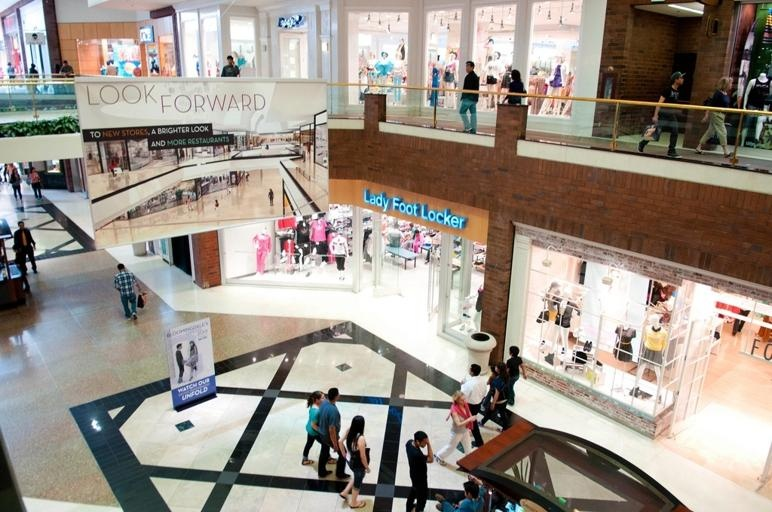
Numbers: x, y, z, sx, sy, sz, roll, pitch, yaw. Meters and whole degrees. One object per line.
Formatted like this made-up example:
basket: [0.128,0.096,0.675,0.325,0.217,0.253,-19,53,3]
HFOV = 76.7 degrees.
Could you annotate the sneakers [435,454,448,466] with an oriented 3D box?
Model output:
sneakers: [1.137,4.155,9.920,0.268,0.222,0.117,3,20,5]

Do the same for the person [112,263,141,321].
person: [-7.832,0.948,14.662,0.591,1.836,1.100,-10,23,-27]

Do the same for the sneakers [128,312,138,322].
sneakers: [-7.649,1.844,14.699,0.117,0.145,0.347,-2,14,-12]

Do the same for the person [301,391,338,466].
person: [-1.295,3.445,9.549,0.846,1.778,0.521,-13,51,-18]

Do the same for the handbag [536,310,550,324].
handbag: [3.932,1.519,12.103,0.352,0.269,0.214,-4,8,8]

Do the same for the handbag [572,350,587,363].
handbag: [4.692,2.423,11.736,0.247,0.282,0.302,-23,26,-28]

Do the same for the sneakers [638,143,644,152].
sneakers: [5.216,-2.225,9.925,0.071,0.204,0.087,-9,15,-19]

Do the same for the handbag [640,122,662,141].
handbag: [5.366,-2.512,9.781,0.247,0.463,0.380,9,2,-32]

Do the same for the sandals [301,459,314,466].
sandals: [-1.589,4.194,9.874,0.250,0.095,0.091,-1,39,-13]

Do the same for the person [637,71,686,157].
person: [5.735,-2.936,10.004,0.721,1.594,1.423,10,22,25]

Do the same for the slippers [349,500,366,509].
slippers: [-0.507,4.646,9.050,0.224,0.059,0.121,-8,28,-20]

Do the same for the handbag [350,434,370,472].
handbag: [-0.493,3.526,8.674,0.438,0.754,0.175,11,23,26]

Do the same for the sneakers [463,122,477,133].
sneakers: [2.233,-3.313,12.578,0.137,0.279,0.401,-27,49,-33]

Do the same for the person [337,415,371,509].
person: [-0.614,3.961,9.160,0.731,2.102,0.674,-18,43,-25]

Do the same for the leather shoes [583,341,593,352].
leather shoes: [4.833,2.159,11.599,0.169,0.228,0.069,13,11,34]

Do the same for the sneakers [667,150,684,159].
sneakers: [5.716,-2.004,9.565,0.298,0.197,0.099,6,32,15]

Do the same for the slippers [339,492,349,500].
slippers: [-0.797,4.567,9.208,0.085,0.205,0.084,-21,43,10]

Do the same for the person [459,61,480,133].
person: [2.145,-4.066,12.480,0.491,1.719,0.844,3,20,7]

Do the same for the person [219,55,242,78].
person: [-4.887,-5.974,15.207,0.435,0.596,1.125,-7,21,-20]
